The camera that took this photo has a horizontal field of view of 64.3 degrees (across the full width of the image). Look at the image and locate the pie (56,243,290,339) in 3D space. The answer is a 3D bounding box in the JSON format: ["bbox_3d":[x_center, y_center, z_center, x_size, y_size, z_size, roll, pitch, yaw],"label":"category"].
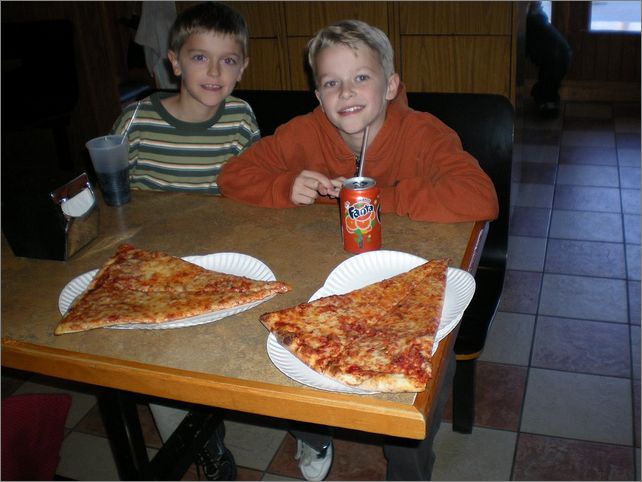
[{"bbox_3d":[-0.373,0.123,1.209,0.317,0.033,0.251,5,28,8],"label":"pie"}]

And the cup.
[{"bbox_3d":[-0.685,-0.222,1.659,0.130,0.193,0.133,-2,23,1],"label":"cup"}]
